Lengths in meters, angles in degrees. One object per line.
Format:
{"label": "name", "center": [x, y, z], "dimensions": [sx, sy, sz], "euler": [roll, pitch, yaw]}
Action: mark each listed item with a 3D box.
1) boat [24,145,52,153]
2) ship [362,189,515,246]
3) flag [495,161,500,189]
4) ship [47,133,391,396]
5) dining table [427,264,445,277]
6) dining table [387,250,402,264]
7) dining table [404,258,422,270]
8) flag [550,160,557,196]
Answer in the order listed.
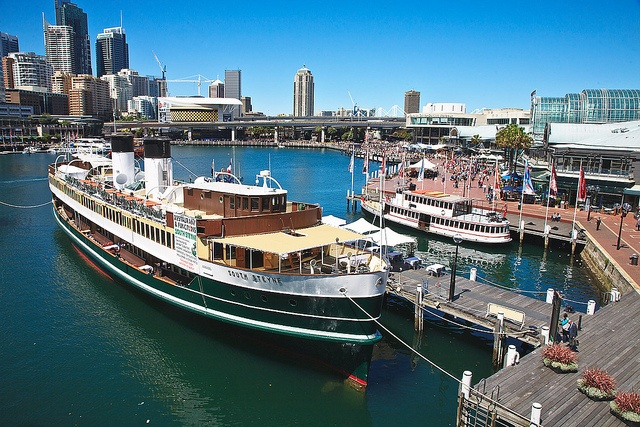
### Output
{"label": "boat", "center": [-117.171, -26.642, 198.611], "dimensions": [7.243, 2.280, 6.240], "euler": [4, 4, 32]}
{"label": "ship", "center": [16.372, -0.340, 74.119], "dimensions": [25.027, 6.413, 6.709], "euler": [14, 19, 39]}
{"label": "flag", "center": [29.034, -6.062, 78.098], "dimensions": [0.715, 3.988, 9.312], "euler": [3, 13, 20]}
{"label": "ship", "center": [-16.244, 1.332, 54.497], "dimensions": [55.105, 18.285, 12.490], "euler": [14, 16, 39]}
{"label": "dining table", "center": [12.440, 5.987, 51.207], "dimensions": [1.357, 0.926, 1.362], "euler": [11, 26, 30]}
{"label": "dining table", "center": [8.507, 4.926, 53.627], "dimensions": [1.406, 0.703, 1.941], "euler": [-1, 13, 3]}
{"label": "dining table", "center": [10.512, 5.718, 53.118], "dimensions": [1.423, 0.515, 1.381], "euler": [-15, 32, -25]}
{"label": "flag", "center": [33.958, -4.360, 69.329], "dimensions": [0.761, 4.987, 5.276], "euler": [5, 13, 25]}
